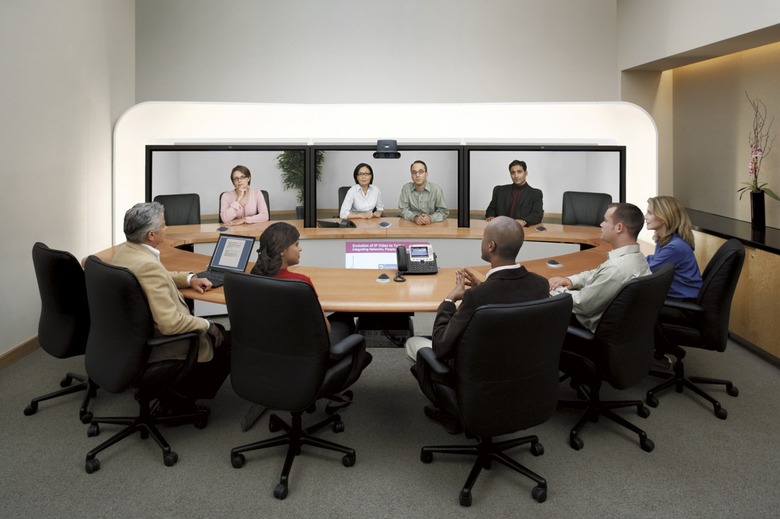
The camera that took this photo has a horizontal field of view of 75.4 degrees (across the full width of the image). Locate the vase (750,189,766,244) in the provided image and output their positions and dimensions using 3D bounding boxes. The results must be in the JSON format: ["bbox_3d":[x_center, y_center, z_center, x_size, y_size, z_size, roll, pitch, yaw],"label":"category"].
[{"bbox_3d":[3.942,-0.477,5.448,0.121,0.554,0.124,-2,10,29],"label":"vase"}]

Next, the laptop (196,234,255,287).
[{"bbox_3d":[-1.373,-0.025,4.084,0.441,0.339,0.476,7,7,33],"label":"laptop"}]

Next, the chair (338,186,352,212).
[{"bbox_3d":[-0.559,-0.756,5.990,0.184,0.278,0.204,3,2,21],"label":"chair"}]

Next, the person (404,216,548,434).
[{"bbox_3d":[0.499,0.513,3.348,0.666,1.594,1.032,-11,15,-36],"label":"person"}]

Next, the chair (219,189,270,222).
[{"bbox_3d":[-1.704,-0.534,6.065,0.522,0.666,0.367,-1,1,-15],"label":"chair"}]

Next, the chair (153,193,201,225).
[{"bbox_3d":[-2.399,-0.598,5.846,0.377,0.555,0.422,0,3,-13],"label":"chair"}]

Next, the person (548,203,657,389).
[{"bbox_3d":[1.585,0.280,4.004,0.797,1.484,0.580,16,24,40],"label":"person"}]

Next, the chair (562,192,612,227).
[{"bbox_3d":[2.299,-0.640,6.111,0.440,0.616,0.467,1,4,7],"label":"chair"}]

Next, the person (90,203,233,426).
[{"bbox_3d":[-1.547,0.434,3.771,0.710,1.717,0.927,12,15,38],"label":"person"}]

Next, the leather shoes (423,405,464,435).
[{"bbox_3d":[0.360,1.081,3.550,0.136,0.174,0.418,-6,11,-20],"label":"leather shoes"}]
